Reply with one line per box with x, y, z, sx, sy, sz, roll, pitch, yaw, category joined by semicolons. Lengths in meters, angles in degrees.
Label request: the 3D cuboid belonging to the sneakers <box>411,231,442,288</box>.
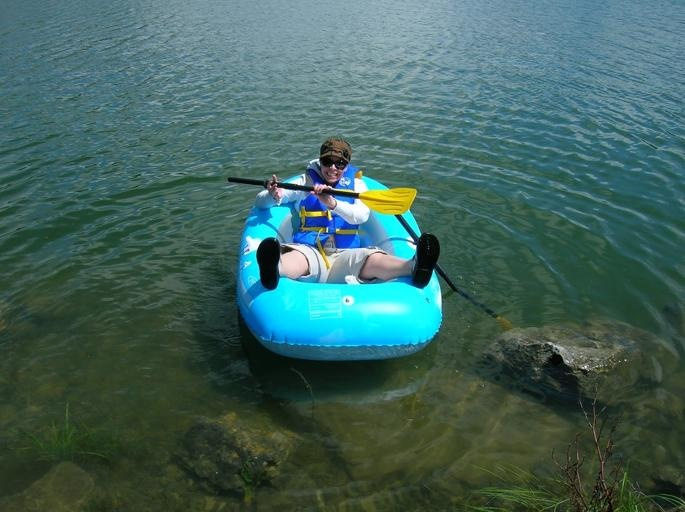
0.797;0.040;5.666;0.225;0.561;0.246;7;29;-1;sneakers

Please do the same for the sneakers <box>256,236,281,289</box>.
-0.720;0.061;5.607;0.219;0.497;0.225;3;14;3;sneakers

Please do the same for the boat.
-0.221;0.454;5.876;2.178;0.626;1.442;34;58;18;boat

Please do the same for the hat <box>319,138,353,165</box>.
-0.077;-1.178;6.220;0.309;0.262;0.309;10;55;1;hat
